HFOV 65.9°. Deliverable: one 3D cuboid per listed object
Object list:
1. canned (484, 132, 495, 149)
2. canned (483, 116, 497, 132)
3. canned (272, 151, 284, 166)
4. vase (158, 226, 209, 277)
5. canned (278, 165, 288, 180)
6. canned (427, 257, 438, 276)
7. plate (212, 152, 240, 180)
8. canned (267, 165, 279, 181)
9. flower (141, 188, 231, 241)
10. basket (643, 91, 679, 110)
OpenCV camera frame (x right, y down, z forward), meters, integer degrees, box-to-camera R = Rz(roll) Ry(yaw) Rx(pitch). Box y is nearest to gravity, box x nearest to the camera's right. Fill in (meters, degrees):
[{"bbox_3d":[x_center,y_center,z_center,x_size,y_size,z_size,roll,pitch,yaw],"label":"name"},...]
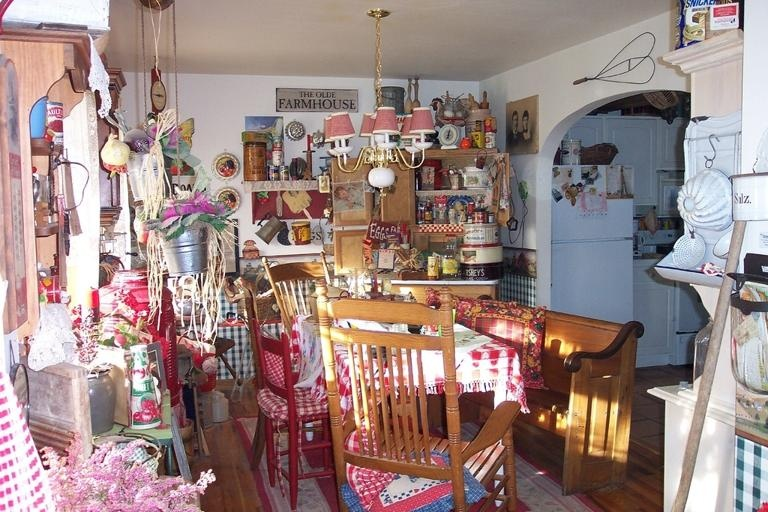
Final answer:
[{"bbox_3d":[1.071,-1.158,5.932,0.094,0.169,0.093,0,5,-6],"label":"canned"},{"bbox_3d":[1.072,-1.322,5.953,0.103,0.146,0.095,1,5,-3],"label":"canned"},{"bbox_3d":[-1.071,-0.983,5.946,0.130,0.149,0.132,9,10,40],"label":"canned"},{"bbox_3d":[-0.832,-0.020,2.442,0.226,0.179,0.216,-4,4,20],"label":"vase"},{"bbox_3d":[-1.011,-0.834,5.982,0.093,0.154,0.174,1,5,-5],"label":"canned"},{"bbox_3d":[0.476,0.095,5.684,0.105,0.192,0.082,1,5,0],"label":"canned"},{"bbox_3d":[-1.593,-0.909,5.971,0.255,0.256,0.067,-1,6,-21],"label":"plate"},{"bbox_3d":[-1.118,-0.842,5.974,0.149,0.163,0.148,-3,8,-21],"label":"canned"},{"bbox_3d":[-0.794,-0.165,2.365,0.235,0.115,0.237,4,33,32],"label":"flower"},{"bbox_3d":[2.509,-1.397,5.296,0.297,0.119,0.246,7,-4,-9],"label":"basket"}]
